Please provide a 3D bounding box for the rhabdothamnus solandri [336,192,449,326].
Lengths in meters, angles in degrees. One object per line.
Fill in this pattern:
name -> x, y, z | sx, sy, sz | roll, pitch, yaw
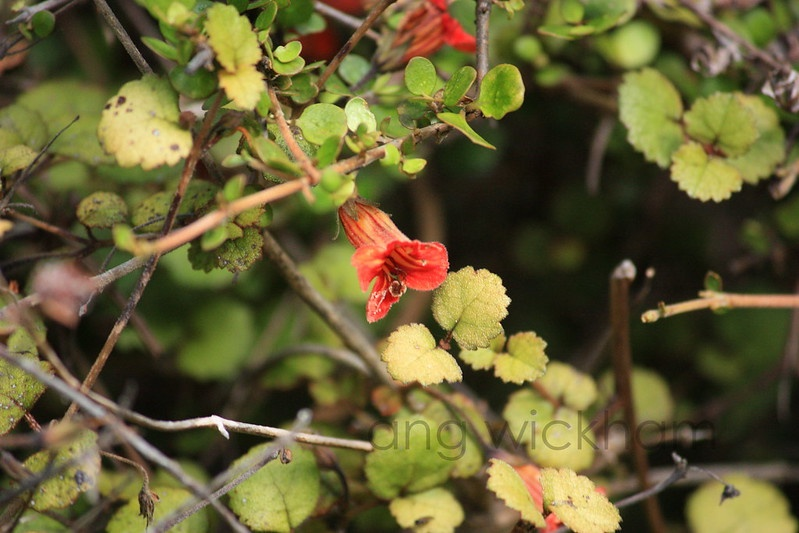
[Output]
rhabdothamnus solandri -> -0.041, -0.020, 1.975 | 0.222, 0.162, 0.304 | -46, 17, -1
